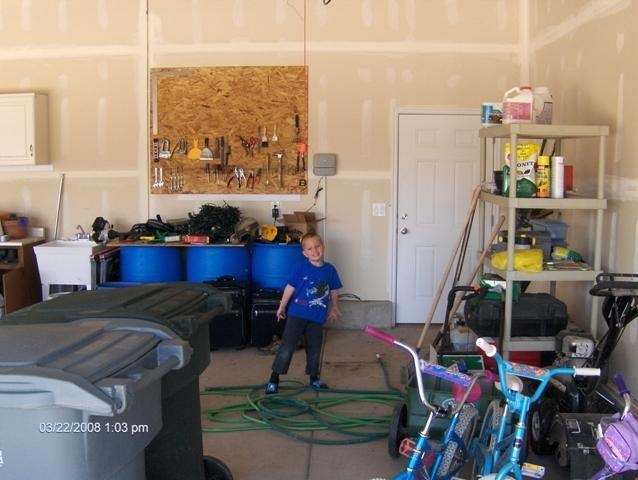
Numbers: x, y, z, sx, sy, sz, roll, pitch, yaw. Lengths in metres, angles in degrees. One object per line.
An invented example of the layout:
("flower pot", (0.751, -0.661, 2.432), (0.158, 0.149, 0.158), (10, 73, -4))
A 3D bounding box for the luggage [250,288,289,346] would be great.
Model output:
("luggage", (-0.468, 0.730, 5.482), (0.344, 0.481, 0.296), (-2, 7, -3))

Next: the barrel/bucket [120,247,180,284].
("barrel/bucket", (-1.628, 0.183, 5.697), (0.496, 0.451, 0.480), (-1, 2, 0))

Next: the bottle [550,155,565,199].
("bottle", (1.616, -0.424, 3.945), (0.090, 0.281, 0.104), (3, 11, 14))

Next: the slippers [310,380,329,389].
("slippers", (-0.004, 1.106, 4.444), (0.126, 0.043, 0.058), (-1, 2, 32))

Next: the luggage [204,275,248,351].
("luggage", (-0.840, 0.681, 5.493), (0.412, 0.641, 0.357), (-2, 1, 9))

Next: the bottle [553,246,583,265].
("bottle", (1.829, 0.126, 4.281), (0.199, 0.069, 0.107), (12, 22, 21))

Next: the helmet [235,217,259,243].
("helmet", (-0.705, -0.091, 5.624), (0.190, 0.206, 0.253), (-6, -5, 41))

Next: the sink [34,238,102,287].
("sink", (-2.464, 0.178, 5.707), (0.554, 0.609, 0.443), (1, 2, 0))

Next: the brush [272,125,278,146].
("brush", (-0.470, -1.074, 5.963), (0.071, 0.189, 0.033), (0, 11, -4))

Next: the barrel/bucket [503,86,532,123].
("barrel/bucket", (1.394, -0.930, 4.020), (0.264, 0.244, 0.172), (-4, 11, -20))

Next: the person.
("person", (-0.118, 0.525, 4.724), (0.561, 1.202, 1.018), (1, 10, 2))

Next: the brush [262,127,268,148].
("brush", (-0.571, -1.049, 5.966), (0.077, 0.202, 0.042), (-1, 11, -6))
